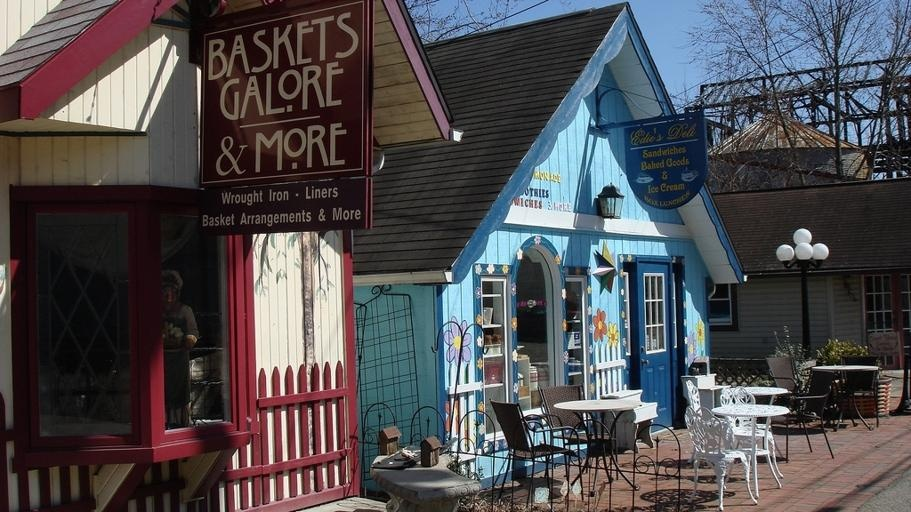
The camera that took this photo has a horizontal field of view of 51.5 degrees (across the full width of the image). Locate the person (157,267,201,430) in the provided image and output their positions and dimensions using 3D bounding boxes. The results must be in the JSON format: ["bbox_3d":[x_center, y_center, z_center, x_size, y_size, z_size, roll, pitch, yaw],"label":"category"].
[{"bbox_3d":[-3.577,1.211,12.321,0.443,2.041,0.170,-1,-6,-20],"label":"person"}]

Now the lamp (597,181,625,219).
[{"bbox_3d":[2.997,-1.063,18.175,0.598,0.718,0.610,-1,-1,37],"label":"lamp"}]

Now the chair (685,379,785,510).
[{"bbox_3d":[4.488,3.187,15.957,1.570,2.644,1.644,-9,-9,42],"label":"chair"}]

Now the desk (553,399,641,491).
[{"bbox_3d":[2.436,3.236,16.110,1.393,1.343,1.353,0,-2,-38],"label":"desk"}]
